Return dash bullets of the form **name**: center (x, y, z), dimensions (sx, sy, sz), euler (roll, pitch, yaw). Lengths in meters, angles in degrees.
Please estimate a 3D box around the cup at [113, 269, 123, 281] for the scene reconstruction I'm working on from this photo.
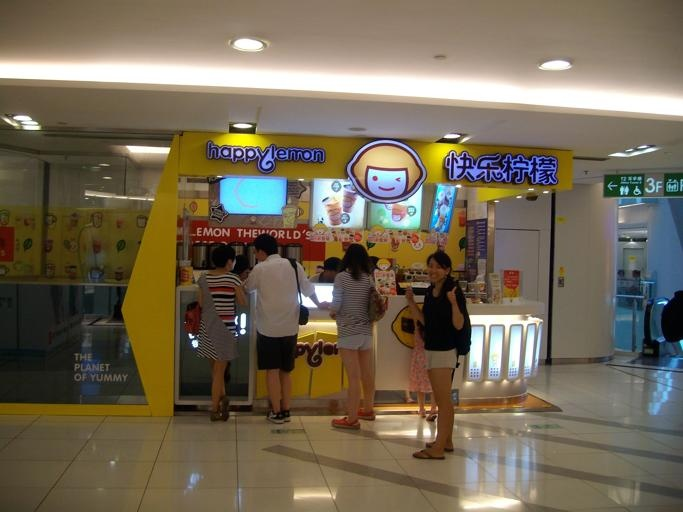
- **cup**: center (-2.645, 0.229, 6.437), dimensions (0.105, 0.128, 0.112), euler (0, -6, 0)

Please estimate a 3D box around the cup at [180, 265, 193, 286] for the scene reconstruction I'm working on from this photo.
- **cup**: center (-1.862, 0.231, 6.596), dimensions (0.095, 0.220, 0.187), euler (3, 5, 26)

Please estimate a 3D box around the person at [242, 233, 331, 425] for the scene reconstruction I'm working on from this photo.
- **person**: center (-0.725, 0.817, 6.150), dimensions (0.727, 2.096, 0.318), euler (0, 4, -12)

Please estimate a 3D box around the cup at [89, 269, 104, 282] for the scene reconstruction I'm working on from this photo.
- **cup**: center (-2.888, 0.233, 6.411), dimensions (0.176, 0.198, 0.109), euler (1, -1, -15)

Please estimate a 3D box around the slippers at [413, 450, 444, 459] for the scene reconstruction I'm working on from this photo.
- **slippers**: center (0.836, 1.927, 5.284), dimensions (0.246, 0.072, 0.119), euler (3, -4, 3)

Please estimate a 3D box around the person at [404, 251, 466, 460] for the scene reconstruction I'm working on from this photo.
- **person**: center (0.976, 0.966, 5.304), dimensions (0.486, 1.982, 0.297), euler (2, 4, 14)

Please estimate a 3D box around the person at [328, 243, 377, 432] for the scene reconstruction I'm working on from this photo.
- **person**: center (0.136, 0.880, 6.159), dimensions (0.373, 2.033, 0.566), euler (4, 5, 41)

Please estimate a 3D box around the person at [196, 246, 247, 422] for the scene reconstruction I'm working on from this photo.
- **person**: center (-1.374, 0.869, 6.240), dimensions (0.564, 1.944, 0.370), euler (1, 4, -4)
